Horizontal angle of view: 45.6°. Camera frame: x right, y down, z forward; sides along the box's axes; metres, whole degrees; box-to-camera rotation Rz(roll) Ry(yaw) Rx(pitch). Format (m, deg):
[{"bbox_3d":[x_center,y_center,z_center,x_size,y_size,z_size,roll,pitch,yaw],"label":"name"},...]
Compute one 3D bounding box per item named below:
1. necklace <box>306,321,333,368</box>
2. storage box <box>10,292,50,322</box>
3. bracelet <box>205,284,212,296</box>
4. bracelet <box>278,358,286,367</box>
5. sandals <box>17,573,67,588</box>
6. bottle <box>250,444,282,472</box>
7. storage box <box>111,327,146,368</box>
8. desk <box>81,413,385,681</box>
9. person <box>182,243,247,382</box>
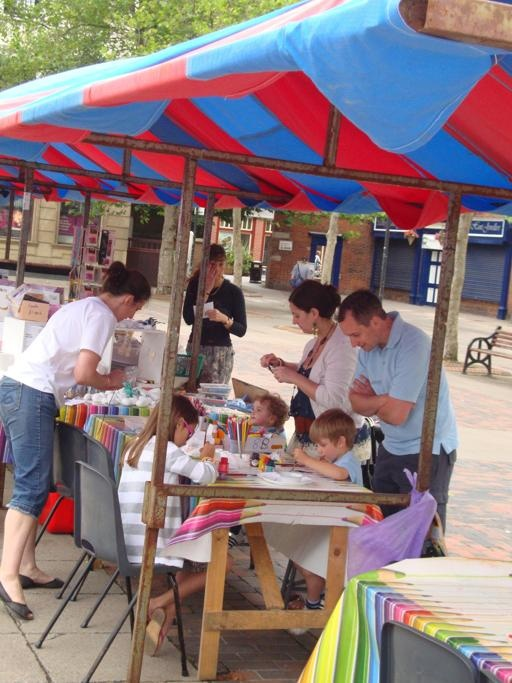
[{"bbox_3d":[0.467,0.028,4.411,0.086,0.336,0.191,40,6,8],"label":"necklace"},{"bbox_3d":[-2.063,-0.311,5.551,0.281,0.158,0.284,4,5,-41],"label":"storage box"},{"bbox_3d":[-0.511,-0.533,6.407,0.030,0.101,0.058,24,1,32],"label":"bracelet"},{"bbox_3d":[0.204,0.166,4.612,0.038,0.046,0.022,-10,4,31],"label":"bracelet"},{"bbox_3d":[-1.395,1.568,3.981,0.332,0.086,0.108,0,0,-15],"label":"sandals"},{"bbox_3d":[0.052,0.697,3.600,0.167,0.065,0.197,0,1,-5],"label":"bottle"},{"bbox_3d":[-1.339,0.059,5.954,0.141,0.338,0.286,2,-1,43],"label":"storage box"},{"bbox_3d":[-0.122,1.171,3.287,1.236,0.772,1.134,3,-6,-16],"label":"desk"},{"bbox_3d":[-0.456,-0.286,6.499,0.692,1.514,1.041,9,5,5],"label":"person"}]
